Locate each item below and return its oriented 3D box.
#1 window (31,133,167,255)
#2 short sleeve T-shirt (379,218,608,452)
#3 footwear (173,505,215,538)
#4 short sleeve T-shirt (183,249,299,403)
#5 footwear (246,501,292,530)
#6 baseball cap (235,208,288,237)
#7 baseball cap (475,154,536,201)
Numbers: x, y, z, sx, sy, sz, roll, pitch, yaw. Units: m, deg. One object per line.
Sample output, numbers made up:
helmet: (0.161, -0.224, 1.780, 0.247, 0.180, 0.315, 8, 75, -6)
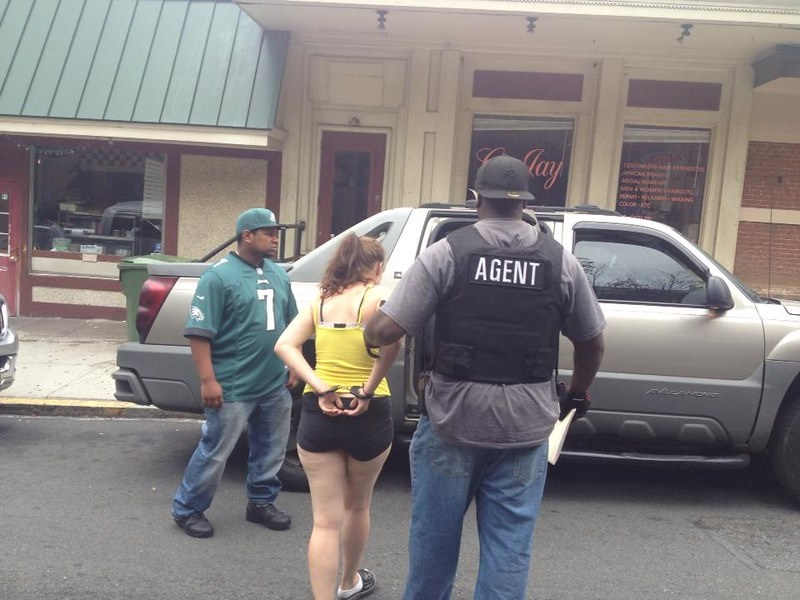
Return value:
window: (-4.481, -1.687, 14.056, 1.774, 1.483, 0.627, 2, 6, 3)
short sleeve T-shirt: (0.620, 0.291, 6.317, 2.033, 1.834, 0.881, 2, -2, -6)
footwear: (-1.691, 1.822, 7.590, 0.350, 0.154, 0.158, 5, 5, 32)
short sleeve T-shirt: (-1.278, 0.262, 7.510, 0.645, 1.319, 1.309, 2, 4, 42)
footwear: (-1.083, 1.803, 7.679, 0.411, 0.186, 0.166, 7, 10, 17)
baseball cap: (-1.168, -0.640, 7.578, 0.302, 0.146, 0.210, -5, 10, -5)
baseball cap: (0.681, -0.803, 6.078, 0.266, 0.202, 0.372, 3, 9, -7)
